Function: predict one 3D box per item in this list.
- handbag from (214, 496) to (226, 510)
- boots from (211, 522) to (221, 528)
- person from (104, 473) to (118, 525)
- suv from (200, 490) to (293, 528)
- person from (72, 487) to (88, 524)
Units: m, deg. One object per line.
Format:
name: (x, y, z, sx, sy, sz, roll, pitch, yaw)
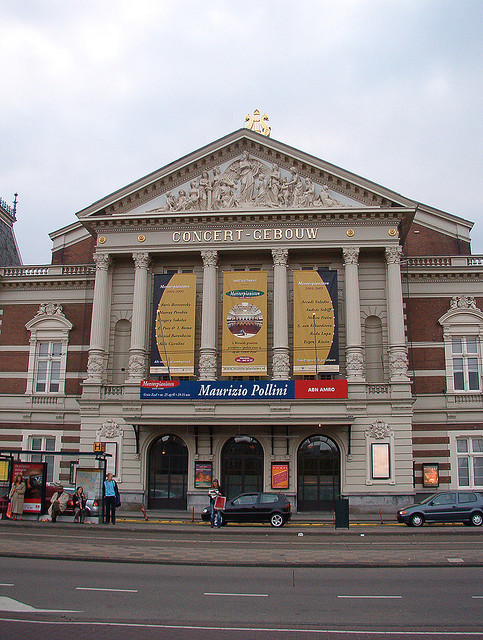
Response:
handbag: (-0.843, 7.399, 27.651, 0.420, 0.566, 0.362, -2, -15, 11)
boots: (-0.992, 8.280, 27.689, 0.372, 0.325, 0.165, 2, -32, 1)
person: (-5.262, 7.207, 27.722, 0.592, 2.003, 1.024, 4, -15, -10)
suv: (0.768, 8.092, 29.219, 2.703, 0.994, 1.323, 1, -17, 4)
person: (-6.502, 7.460, 27.644, 0.560, 1.381, 0.762, 4, -15, -12)
